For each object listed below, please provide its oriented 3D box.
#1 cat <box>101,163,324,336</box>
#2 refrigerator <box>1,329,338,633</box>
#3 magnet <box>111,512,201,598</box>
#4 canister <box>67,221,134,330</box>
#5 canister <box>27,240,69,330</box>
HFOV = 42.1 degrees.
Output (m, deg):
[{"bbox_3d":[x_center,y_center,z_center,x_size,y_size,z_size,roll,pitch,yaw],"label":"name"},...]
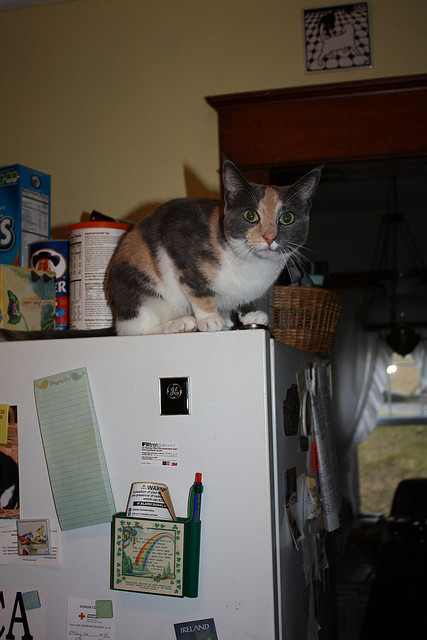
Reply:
[{"bbox_3d":[-0.012,-0.112,1.024,0.401,0.309,0.204,7,13,39],"label":"cat"},{"bbox_3d":[-0.020,0.223,1.097,0.466,0.721,0.378,-5,-2,16],"label":"refrigerator"},{"bbox_3d":[-0.082,0.316,0.741,0.114,0.105,0.018,2,5,6],"label":"magnet"},{"bbox_3d":[-0.239,-0.093,1.175,0.063,0.226,0.145,0,10,11],"label":"canister"},{"bbox_3d":[-0.358,-0.075,1.195,0.044,0.188,0.098,3,8,9],"label":"canister"}]
